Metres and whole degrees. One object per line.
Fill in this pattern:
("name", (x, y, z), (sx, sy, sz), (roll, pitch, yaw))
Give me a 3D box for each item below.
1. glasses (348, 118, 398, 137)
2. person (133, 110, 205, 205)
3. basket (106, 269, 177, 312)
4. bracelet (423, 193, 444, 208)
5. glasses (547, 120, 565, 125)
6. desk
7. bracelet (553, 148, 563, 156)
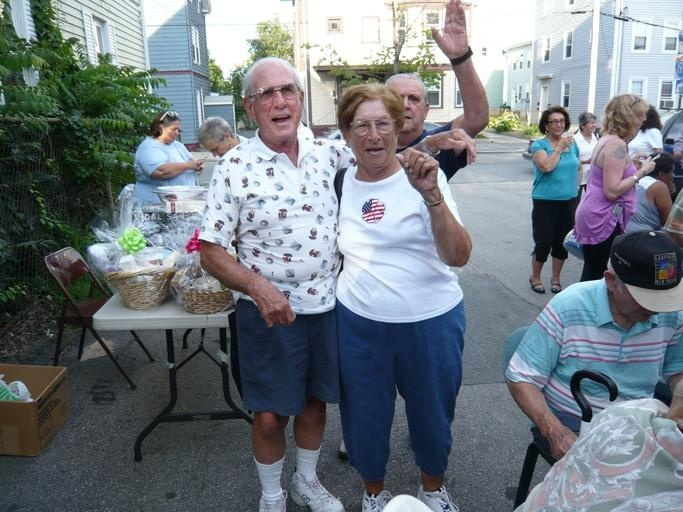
("glasses", (0.153, -0.618, 2.254), (0.193, 0.077, 0.043), (-1, 18, 2))
("person", (-1.877, -0.863, 5.072), (0.743, 1.333, 0.714), (0, 21, -16))
("basket", (-1.227, 0.191, 2.856), (0.279, 0.154, 0.310), (-1, 4, -3))
("bracelet", (0.421, -0.244, 2.097), (0.085, 0.056, 0.054), (-2, 18, 0))
("glasses", (2.572, -1.580, 5.522), (0.208, 0.072, 0.086), (-2, 18, 0))
("desk", (-0.976, 0.668, 3.970), (1.199, 1.034, 2.111), (-3, 11, -2))
("bracelet", (2.499, -1.191, 5.370), (0.066, 0.049, 0.066), (2, -14, -25))
